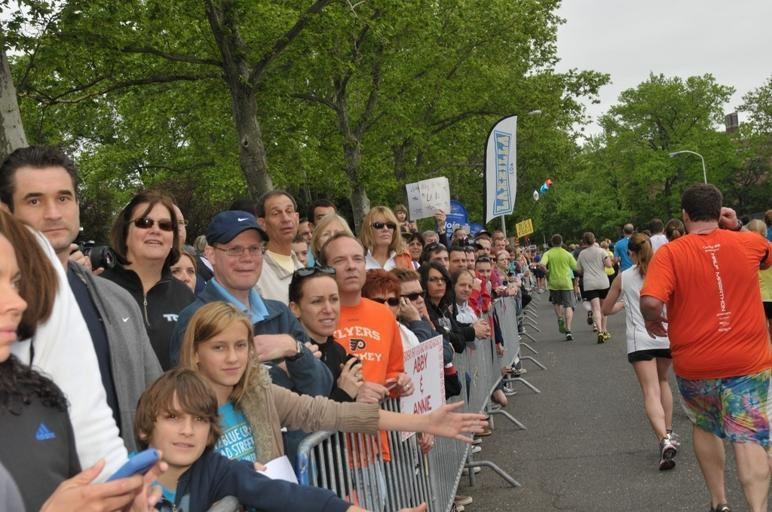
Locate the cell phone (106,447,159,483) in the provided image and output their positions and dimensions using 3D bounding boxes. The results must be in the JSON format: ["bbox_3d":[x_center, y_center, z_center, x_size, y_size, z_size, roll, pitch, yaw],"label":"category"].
[{"bbox_3d":[-1.041,0.856,2.718,0.210,0.126,0.157,-6,2,-29],"label":"cell phone"}]

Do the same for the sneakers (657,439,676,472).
[{"bbox_3d":[2.850,2.001,6.677,0.147,0.362,0.158,-2,41,9],"label":"sneakers"}]

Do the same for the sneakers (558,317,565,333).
[{"bbox_3d":[4.207,1.700,15.859,0.162,0.368,0.156,-4,32,5],"label":"sneakers"}]

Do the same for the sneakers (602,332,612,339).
[{"bbox_3d":[4.765,1.705,14.305,0.131,0.159,0.365,1,11,19],"label":"sneakers"}]

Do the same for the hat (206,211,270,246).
[{"bbox_3d":[-1.090,-0.213,4.748,0.258,0.166,0.345,1,-11,-45],"label":"hat"}]
